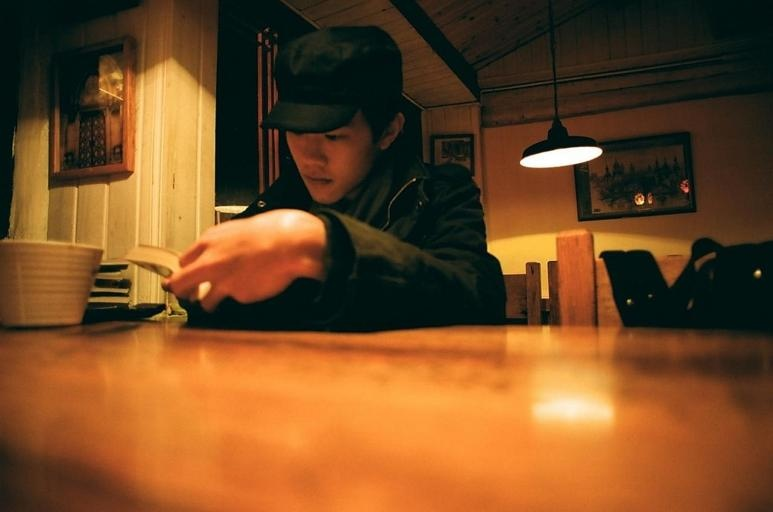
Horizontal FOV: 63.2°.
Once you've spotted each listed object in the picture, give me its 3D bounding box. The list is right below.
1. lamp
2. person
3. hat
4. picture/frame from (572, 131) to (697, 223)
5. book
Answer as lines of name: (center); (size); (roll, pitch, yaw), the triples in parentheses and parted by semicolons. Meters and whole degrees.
lamp: (0.944, -0.941, 3.393); (0.385, 1.025, 1.198); (-1, -3, 18)
person: (-0.107, -0.292, 2.056); (0.921, 1.035, 0.960); (0, -3, 16)
hat: (-0.187, -0.594, 2.196); (0.328, 0.239, 0.456); (3, 11, 31)
picture/frame: (1.609, -0.509, 4.000); (0.637, 0.459, 0.046); (-2, 26, 3)
book: (-0.602, 0.025, 1.694); (0.172, 0.047, 0.176); (8, -29, 49)
